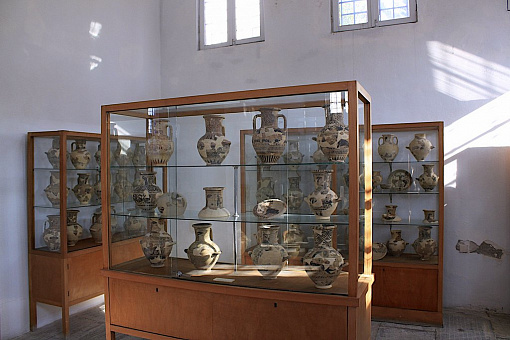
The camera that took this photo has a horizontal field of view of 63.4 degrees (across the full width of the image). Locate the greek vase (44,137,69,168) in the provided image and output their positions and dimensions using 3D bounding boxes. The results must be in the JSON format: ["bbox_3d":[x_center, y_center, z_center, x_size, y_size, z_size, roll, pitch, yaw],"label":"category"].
[{"bbox_3d":[-2.466,-0.203,5.175,0.312,0.399,0.306,-1,-13,-27],"label":"greek vase"}]

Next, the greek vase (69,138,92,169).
[{"bbox_3d":[-2.228,-0.198,5.267,0.297,0.375,0.306,-4,-5,32],"label":"greek vase"}]

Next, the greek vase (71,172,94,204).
[{"bbox_3d":[-2.169,0.244,5.266,0.323,0.439,0.326,0,-3,12],"label":"greek vase"}]

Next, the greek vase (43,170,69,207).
[{"bbox_3d":[-2.465,0.226,5.178,0.319,0.451,0.320,0,6,-25],"label":"greek vase"}]
